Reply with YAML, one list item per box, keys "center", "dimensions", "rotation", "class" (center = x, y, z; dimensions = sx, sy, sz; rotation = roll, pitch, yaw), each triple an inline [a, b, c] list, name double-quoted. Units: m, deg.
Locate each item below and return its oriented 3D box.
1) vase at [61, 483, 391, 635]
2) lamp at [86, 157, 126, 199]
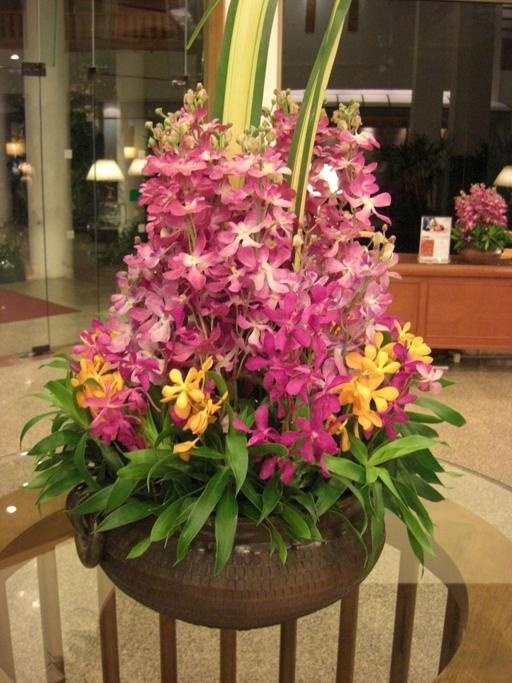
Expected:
- center: [-0.020, 0.172, 0.429]
  dimensions: [0.240, 0.097, 0.201]
  rotation: [2, -6, -7]
  class: "vase"
- center: [-1.275, -1.431, 4.629]
  dimensions: [0.241, 0.219, 0.229]
  rotation: [4, 13, 8]
  class: "lamp"
